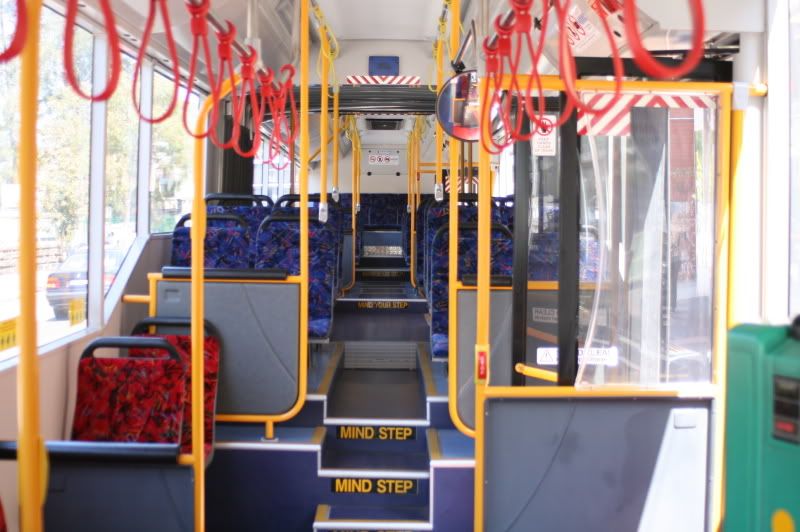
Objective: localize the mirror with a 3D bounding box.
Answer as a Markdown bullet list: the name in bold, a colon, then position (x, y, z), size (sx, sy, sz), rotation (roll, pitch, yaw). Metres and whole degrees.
- **mirror**: position (0.382, -0.847, 3.803), size (0.357, 0.372, 0.368), rotation (2, 12, -1)
